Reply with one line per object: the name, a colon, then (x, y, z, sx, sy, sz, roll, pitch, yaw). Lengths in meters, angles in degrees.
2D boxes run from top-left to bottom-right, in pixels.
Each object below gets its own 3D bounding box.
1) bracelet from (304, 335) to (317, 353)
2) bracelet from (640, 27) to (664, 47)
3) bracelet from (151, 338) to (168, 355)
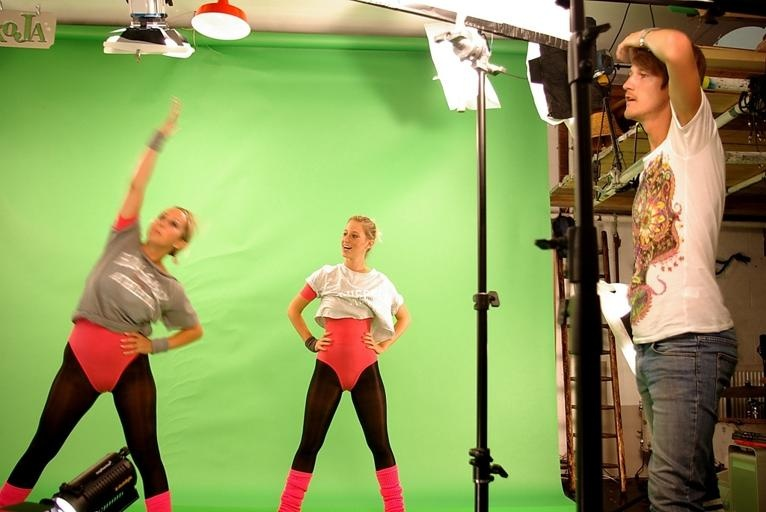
bracelet: (-0.616, 0.751, 6.127, 0.108, 0.104, 0.135, -2, 0, 0)
bracelet: (1.518, -1.258, 4.094, 0.112, 0.038, 0.113, -35, -42, 15)
bracelet: (-1.886, 0.771, 6.064, 0.137, 0.103, 0.124, 0, 2, -13)
